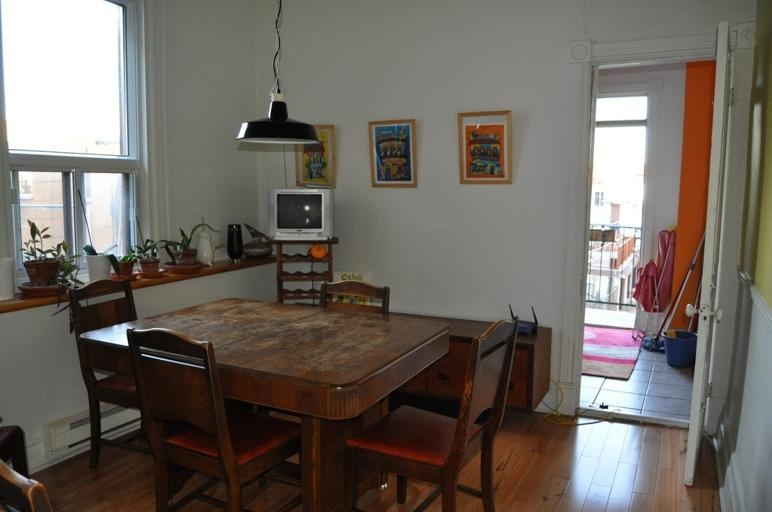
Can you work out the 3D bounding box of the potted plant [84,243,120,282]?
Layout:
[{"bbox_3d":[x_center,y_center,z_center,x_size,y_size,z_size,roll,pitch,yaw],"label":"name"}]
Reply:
[{"bbox_3d":[-2.154,0.044,4.208,0.278,0.282,0.285,2,1,34],"label":"potted plant"}]

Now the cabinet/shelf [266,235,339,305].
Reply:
[{"bbox_3d":[-0.728,0.113,5.075,0.617,0.829,0.344,-1,6,-7],"label":"cabinet/shelf"}]

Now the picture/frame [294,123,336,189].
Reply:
[{"bbox_3d":[-0.658,-0.937,5.247,0.425,0.571,0.015,-10,19,-43],"label":"picture/frame"}]

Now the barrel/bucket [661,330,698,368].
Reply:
[{"bbox_3d":[2.985,0.945,5.686,0.281,0.350,0.273,-1,9,0],"label":"barrel/bucket"}]

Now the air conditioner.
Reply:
[{"bbox_3d":[-2.138,1.258,4.039,0.339,0.325,0.590,9,10,44],"label":"air conditioner"}]

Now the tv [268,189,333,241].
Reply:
[{"bbox_3d":[-0.760,-0.369,4.961,0.573,0.456,0.097,0,10,4],"label":"tv"}]

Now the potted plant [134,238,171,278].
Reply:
[{"bbox_3d":[-1.920,0.002,4.580,0.358,0.370,0.274,-3,5,-38],"label":"potted plant"}]

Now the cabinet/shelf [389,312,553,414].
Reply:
[{"bbox_3d":[0.735,0.918,4.382,1.339,0.762,0.794,7,8,30],"label":"cabinet/shelf"}]

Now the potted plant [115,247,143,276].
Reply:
[{"bbox_3d":[-2.059,0.053,4.414,0.209,0.222,0.186,1,2,30],"label":"potted plant"}]

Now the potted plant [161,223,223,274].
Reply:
[{"bbox_3d":[-1.667,-0.048,4.781,0.357,0.451,0.289,7,8,21],"label":"potted plant"}]

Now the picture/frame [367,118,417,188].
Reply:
[{"bbox_3d":[0.074,-0.921,5.002,0.442,0.590,0.050,3,10,21],"label":"picture/frame"}]

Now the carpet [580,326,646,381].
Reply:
[{"bbox_3d":[2.460,1.021,6.082,0.592,0.094,1.655,3,9,24],"label":"carpet"}]
